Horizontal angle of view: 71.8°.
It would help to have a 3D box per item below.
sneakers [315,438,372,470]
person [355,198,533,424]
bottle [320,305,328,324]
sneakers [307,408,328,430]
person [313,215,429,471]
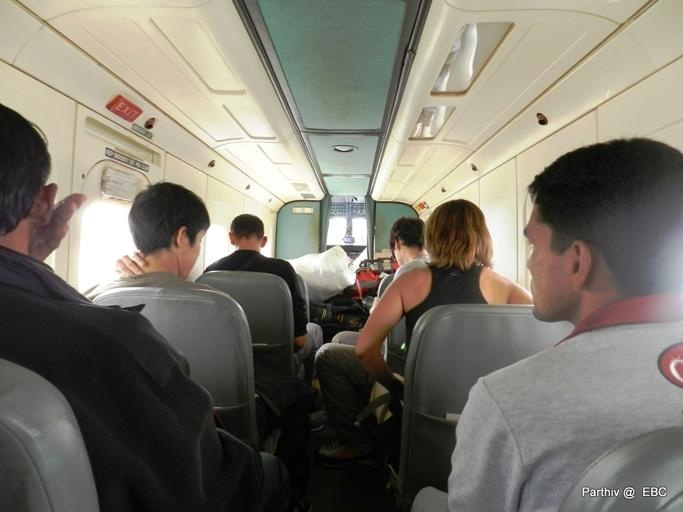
[{"bbox_3d":[0.022,1.255,3.018,0.359,0.155,0.132,5,1,0],"label":"sneakers"},{"bbox_3d":[0.579,0.361,2.916,1.025,1.484,0.839,-5,12,-35],"label":"person"},{"bbox_3d":[-0.167,0.588,4.810,0.117,0.165,0.154,7,1,-12],"label":"bottle"},{"bbox_3d":[-0.147,0.993,2.889,0.060,0.075,0.185,1,2,6],"label":"sneakers"},{"bbox_3d":[0.273,0.550,2.997,0.780,1.616,0.642,5,3,41],"label":"person"}]
